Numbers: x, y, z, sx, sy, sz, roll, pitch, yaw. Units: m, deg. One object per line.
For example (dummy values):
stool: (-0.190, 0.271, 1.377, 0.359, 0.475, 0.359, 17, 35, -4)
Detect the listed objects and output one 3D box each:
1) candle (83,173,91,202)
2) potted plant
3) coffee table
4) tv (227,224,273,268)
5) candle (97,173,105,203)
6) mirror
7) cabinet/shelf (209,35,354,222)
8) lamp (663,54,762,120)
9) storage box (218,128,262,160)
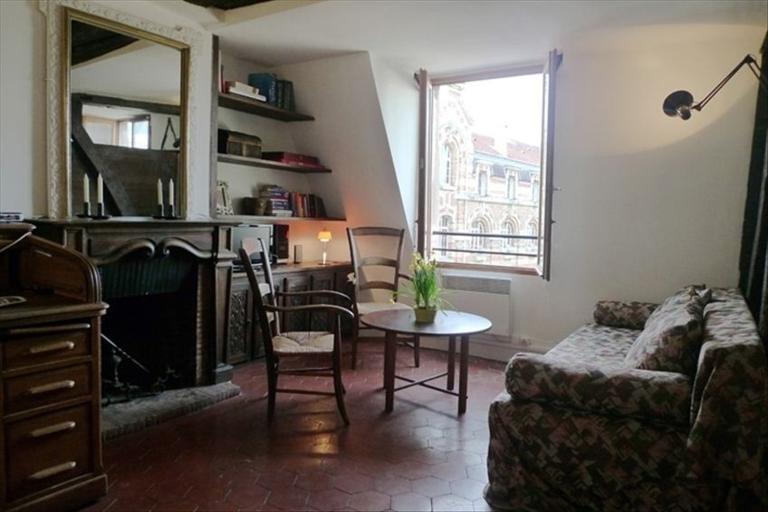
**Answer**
candle: (-2.232, -0.512, 4.136, 0.044, 0.196, 0.094, -3, 14, -23)
potted plant: (0.364, 0.280, 4.748, 0.636, 0.566, 0.539, -2, 2, 5)
coffee table: (0.370, 0.761, 4.476, 0.946, 0.535, 0.893, 0, 5, 6)
tv: (-1.210, -0.085, 4.921, 0.046, 0.267, 0.426, -6, 7, 22)
candle: (-2.130, -0.494, 4.151, 0.052, 0.216, 0.230, -4, 14, -27)
mirror: (-1.998, -1.098, 4.374, 1.018, 1.602, 0.389, -5, 15, -29)
cabinet/shelf: (-1.058, -1.325, 5.528, 0.577, 1.517, 1.802, 0, -2, 37)
lamp: (2.690, -1.343, 4.433, 0.550, 0.515, 0.726, -2, 13, -18)
storage box: (-1.388, -1.066, 5.314, 0.300, 0.227, 0.408, 0, 0, 32)
